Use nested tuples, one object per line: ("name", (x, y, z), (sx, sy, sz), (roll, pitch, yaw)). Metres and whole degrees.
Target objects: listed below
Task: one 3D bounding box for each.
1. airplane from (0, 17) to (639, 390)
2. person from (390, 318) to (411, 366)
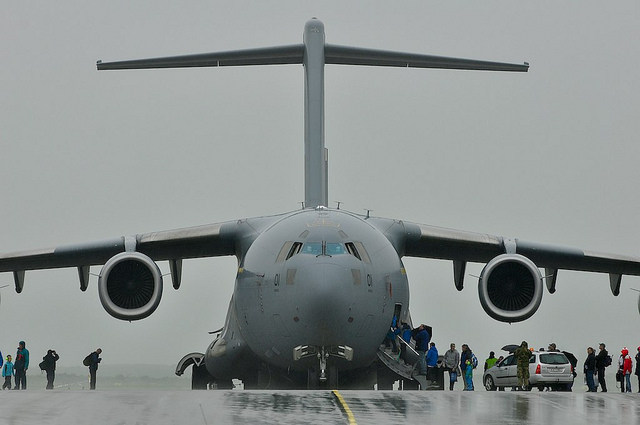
("airplane", (-0.330, -0.278, 25.000), (12.102, 8.968, 6.278), (-1, -14, 13))
("person", (1.744, 2.847, 22.959), (0.385, 1.012, 0.329), (-10, -32, 18))
